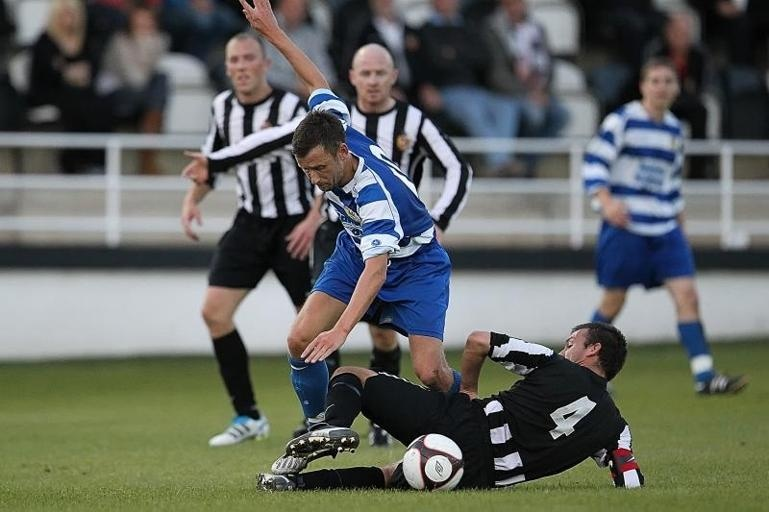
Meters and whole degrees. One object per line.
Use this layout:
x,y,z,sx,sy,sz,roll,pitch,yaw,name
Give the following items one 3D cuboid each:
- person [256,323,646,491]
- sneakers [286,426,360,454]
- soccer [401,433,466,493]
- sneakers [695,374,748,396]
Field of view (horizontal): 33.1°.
0.608,1.152,9.631,2.853,1.527,0.987,5,-24,-3,person
-0.414,1.286,9.207,0.537,0.200,0.266,2,16,-4,sneakers
0.406,1.503,9.356,0.380,0.396,0.392,22,-9,18,soccer
2.777,1.065,10.629,0.347,0.155,0.142,-12,-14,28,sneakers
